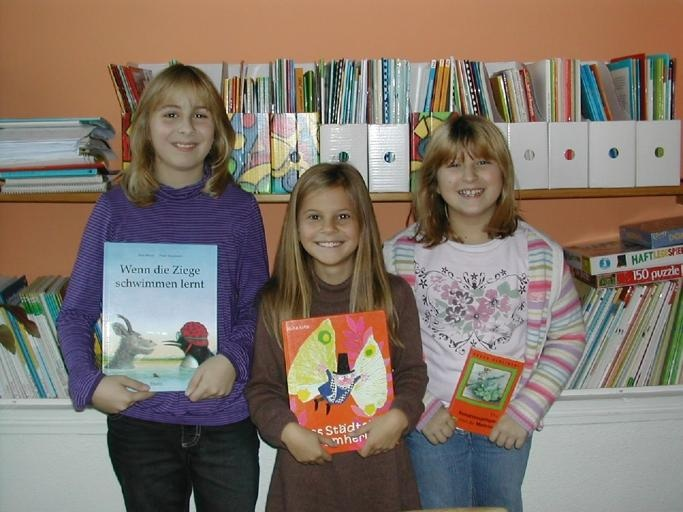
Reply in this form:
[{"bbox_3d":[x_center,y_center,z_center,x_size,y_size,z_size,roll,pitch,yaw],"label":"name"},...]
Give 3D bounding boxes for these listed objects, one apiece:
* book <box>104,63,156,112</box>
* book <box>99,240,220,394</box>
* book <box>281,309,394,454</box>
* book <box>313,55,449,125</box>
[{"bbox_3d":[-0.793,-0.626,2.003,0.047,0.183,0.187,-30,-15,26],"label":"book"},{"bbox_3d":[-0.547,0.172,1.627,0.326,0.435,0.166,-4,14,4],"label":"book"},{"bbox_3d":[-0.011,0.397,1.651,0.402,0.472,0.052,-8,-1,-3],"label":"book"},{"bbox_3d":[0.148,-0.613,2.041,0.319,0.124,0.435,-1,4,-1],"label":"book"}]
